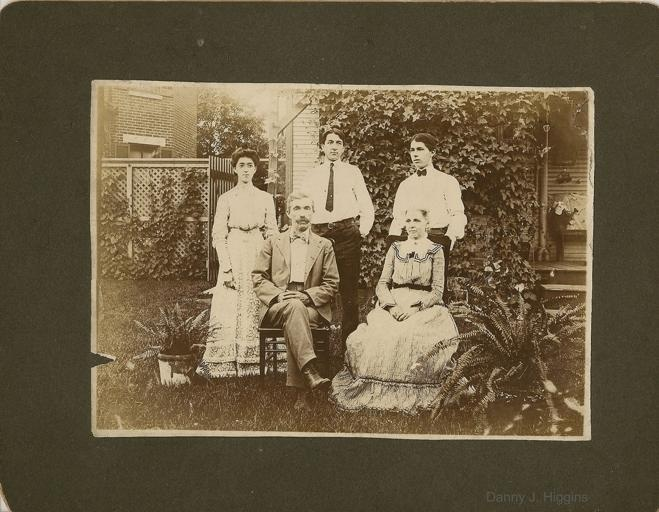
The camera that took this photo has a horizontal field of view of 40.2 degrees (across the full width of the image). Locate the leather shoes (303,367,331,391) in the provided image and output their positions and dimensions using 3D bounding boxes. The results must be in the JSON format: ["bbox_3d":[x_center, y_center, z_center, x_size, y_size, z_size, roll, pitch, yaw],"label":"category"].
[{"bbox_3d":[-0.132,1.217,8.981,0.117,0.327,0.154,-21,103,-32],"label":"leather shoes"}]

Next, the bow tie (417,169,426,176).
[{"bbox_3d":[0.916,-0.846,8.991,0.061,0.010,0.061,1,97,10],"label":"bow tie"}]

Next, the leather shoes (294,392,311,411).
[{"bbox_3d":[-0.267,1.439,8.986,0.170,0.055,0.181,0,92,-3],"label":"leather shoes"}]
